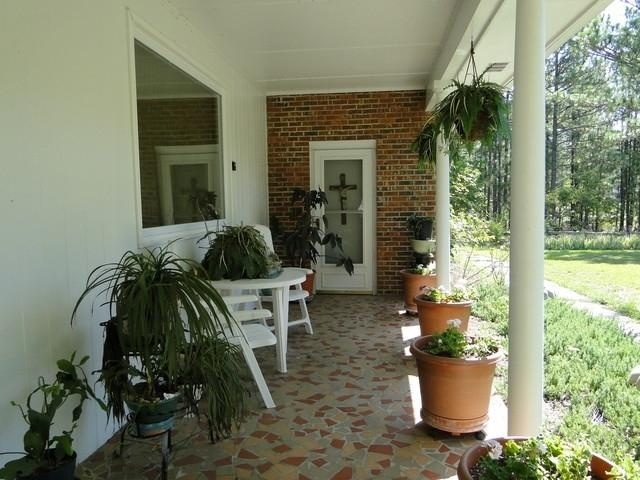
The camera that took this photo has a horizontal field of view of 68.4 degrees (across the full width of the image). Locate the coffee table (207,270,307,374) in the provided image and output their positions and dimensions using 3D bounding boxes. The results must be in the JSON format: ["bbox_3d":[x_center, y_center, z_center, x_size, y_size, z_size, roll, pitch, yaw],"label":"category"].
[{"bbox_3d":[-0.507,0.682,4.337,0.841,0.675,0.881,2,9,14],"label":"coffee table"}]

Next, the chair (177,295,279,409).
[{"bbox_3d":[-0.687,0.840,4.124,0.818,1.130,0.875,-3,3,-1],"label":"chair"}]

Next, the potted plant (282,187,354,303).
[{"bbox_3d":[-0.013,-0.067,7.091,0.704,1.299,0.877,7,2,-41],"label":"potted plant"}]

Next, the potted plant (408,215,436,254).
[{"bbox_3d":[1.531,-0.066,7.114,0.431,0.590,0.465,-7,6,36],"label":"potted plant"}]

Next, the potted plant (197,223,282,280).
[{"bbox_3d":[-0.742,0.095,4.424,0.678,0.397,0.642,15,16,25],"label":"potted plant"}]

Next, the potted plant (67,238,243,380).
[{"bbox_3d":[-1.012,0.371,2.933,0.697,0.538,0.834,2,18,40],"label":"potted plant"}]

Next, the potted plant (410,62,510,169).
[{"bbox_3d":[1.131,-1.148,3.652,0.582,0.759,0.649,7,13,18],"label":"potted plant"}]

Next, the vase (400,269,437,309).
[{"bbox_3d":[1.470,0.643,6.585,0.551,0.486,0.580,-3,0,12],"label":"vase"}]

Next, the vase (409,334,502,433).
[{"bbox_3d":[1.033,1.085,3.592,0.685,0.589,0.656,3,0,-38],"label":"vase"}]

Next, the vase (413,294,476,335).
[{"bbox_3d":[1.233,0.713,4.635,0.410,0.321,0.423,1,-3,-2],"label":"vase"}]

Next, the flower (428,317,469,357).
[{"bbox_3d":[0.971,0.734,3.535,0.211,0.200,0.285,2,18,13],"label":"flower"}]
